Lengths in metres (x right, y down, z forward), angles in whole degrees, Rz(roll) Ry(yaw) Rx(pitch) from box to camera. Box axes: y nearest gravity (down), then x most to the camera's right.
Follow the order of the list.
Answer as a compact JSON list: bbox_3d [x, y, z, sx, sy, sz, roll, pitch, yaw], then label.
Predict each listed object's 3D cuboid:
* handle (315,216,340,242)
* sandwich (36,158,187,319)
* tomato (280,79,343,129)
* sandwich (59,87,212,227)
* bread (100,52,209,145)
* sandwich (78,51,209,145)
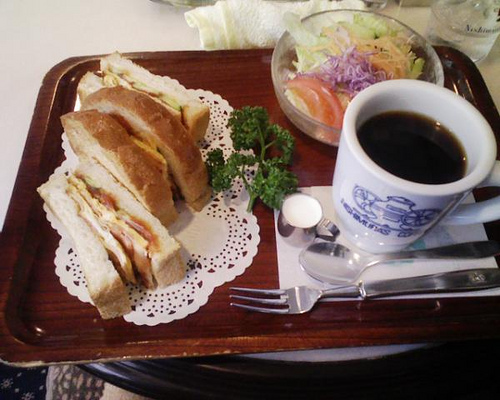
[{"bbox_3d":[0.279,0.112,1.614,0.091,0.069,0.086,-24,17,17],"label":"handle"},{"bbox_3d":[-0.533,0.130,1.689,0.363,0.225,0.639,-32,71,-16],"label":"sandwich"},{"bbox_3d":[0.263,-0.434,1.841,0.065,0.186,0.367,-20,24,-29],"label":"tomato"},{"bbox_3d":[-0.503,-0.221,1.760,0.345,0.416,0.723,-38,41,-28],"label":"sandwich"},{"bbox_3d":[-0.392,-0.404,1.735,0.514,0.212,0.104,35,73,1],"label":"bread"},{"bbox_3d":[-0.456,-0.447,1.937,0.573,0.190,0.324,30,57,5],"label":"sandwich"}]
